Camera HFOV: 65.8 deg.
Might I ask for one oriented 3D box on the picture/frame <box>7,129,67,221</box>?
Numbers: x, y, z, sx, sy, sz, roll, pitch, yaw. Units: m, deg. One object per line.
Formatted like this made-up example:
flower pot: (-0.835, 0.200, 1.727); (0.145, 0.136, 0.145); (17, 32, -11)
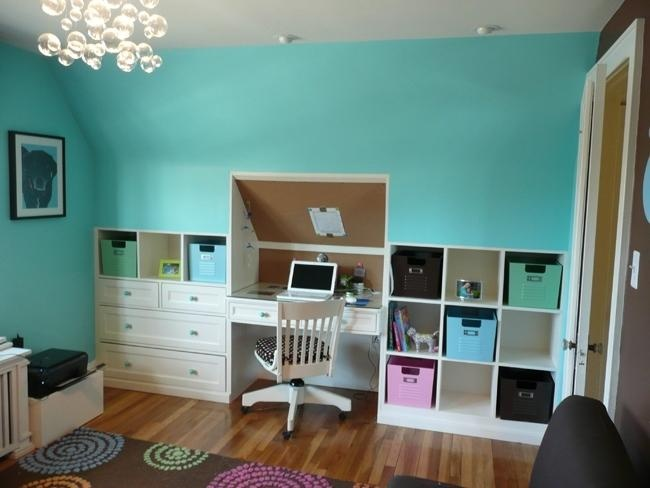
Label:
picture/frame: (-2.234, -0.543, 3.923); (0.115, 0.668, 0.509); (5, 13, 18)

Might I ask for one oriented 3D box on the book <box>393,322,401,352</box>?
book: (0.544, 0.706, 3.811); (0.038, 0.170, 0.163); (-1, 18, 9)

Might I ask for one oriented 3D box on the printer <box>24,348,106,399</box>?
printer: (-1.984, 0.956, 3.632); (0.263, 0.188, 0.355); (2, 6, 15)

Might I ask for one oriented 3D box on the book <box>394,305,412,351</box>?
book: (0.596, 0.654, 3.849); (0.059, 0.259, 0.246); (0, 5, 16)

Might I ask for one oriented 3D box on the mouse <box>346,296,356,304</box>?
mouse: (0.207, 0.427, 3.922); (0.080, 0.031, 0.111); (1, 13, 3)

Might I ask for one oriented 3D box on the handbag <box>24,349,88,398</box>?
handbag: (-2.013, 0.908, 3.694); (0.355, 0.201, 0.428); (7, 14, 28)
